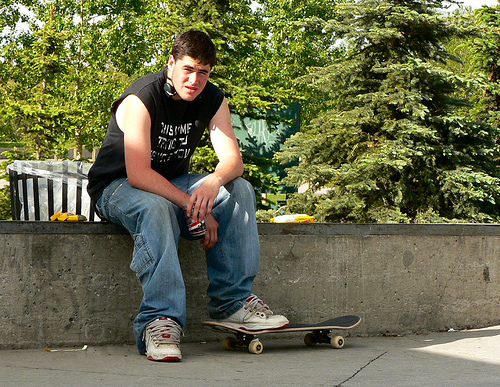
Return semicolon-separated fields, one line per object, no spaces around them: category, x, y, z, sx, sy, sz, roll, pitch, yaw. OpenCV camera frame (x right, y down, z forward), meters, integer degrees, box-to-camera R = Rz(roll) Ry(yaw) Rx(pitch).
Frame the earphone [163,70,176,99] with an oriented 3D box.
earphone;-0.548;-0.686;4.316;0.057;0.108;0.146;-10;31;-9

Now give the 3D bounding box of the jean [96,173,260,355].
jean;-0.554;0.442;4.594;1.134;1.322;1.163;2;-2;-38

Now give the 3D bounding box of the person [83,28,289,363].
person;-0.451;-0.041;4.310;0.996;2.110;0.834;-1;4;-26
